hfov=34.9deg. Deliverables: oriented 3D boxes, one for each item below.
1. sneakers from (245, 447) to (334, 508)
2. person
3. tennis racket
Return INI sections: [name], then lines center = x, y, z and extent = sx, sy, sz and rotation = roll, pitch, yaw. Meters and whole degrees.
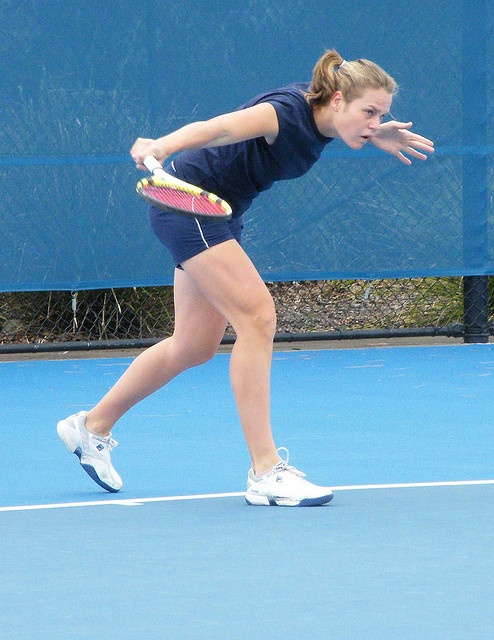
[sneakers]
center = 0.116, 0.435, 2.154
extent = 0.105, 0.148, 0.284
rotation = 10, -14, -40
[person]
center = -0.070, -0.097, 2.281
extent = 0.920, 0.893, 0.710
rotation = -6, 9, 46
[tennis racket]
center = -0.145, -0.278, 1.711
extent = 0.178, 0.109, 0.231
rotation = -11, 5, -5
